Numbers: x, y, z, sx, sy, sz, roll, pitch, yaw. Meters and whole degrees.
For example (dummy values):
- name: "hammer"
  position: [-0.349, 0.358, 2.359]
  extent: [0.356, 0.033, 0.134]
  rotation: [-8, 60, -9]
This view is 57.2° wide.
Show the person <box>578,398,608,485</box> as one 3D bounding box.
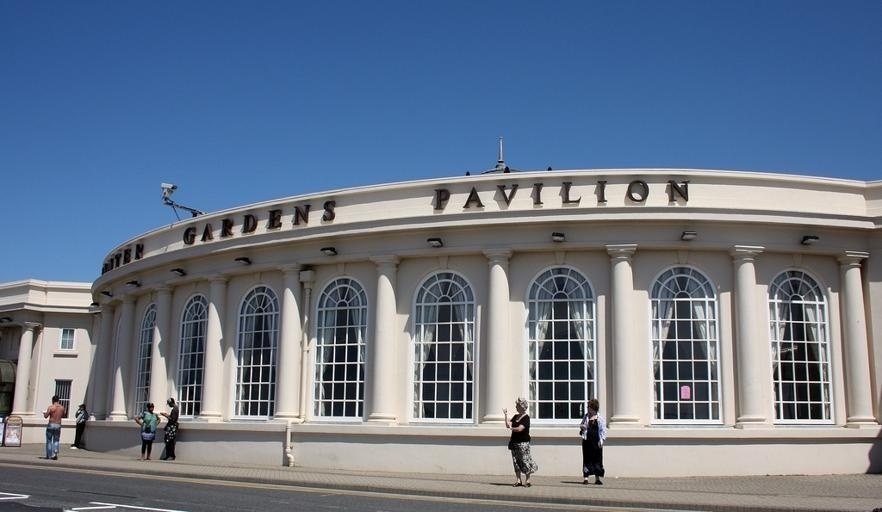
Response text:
- name: "person"
  position: [4.981, 6.161, 26.747]
  extent: [0.726, 2.787, 0.474]
  rotation: [0, -3, 9]

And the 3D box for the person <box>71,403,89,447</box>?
- name: "person"
  position: [-17.096, 8.094, 38.590]
  extent: [0.679, 2.163, 1.564]
  rotation: [1, -3, -24]

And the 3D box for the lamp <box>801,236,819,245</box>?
- name: "lamp"
  position: [13.439, -0.577, 29.692]
  extent: [0.415, 0.262, 0.452]
  rotation: [4, -4, -1]

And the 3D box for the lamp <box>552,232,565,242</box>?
- name: "lamp"
  position: [4.278, -0.671, 29.613]
  extent: [0.544, 0.301, 0.357]
  rotation: [0, 32, 5]

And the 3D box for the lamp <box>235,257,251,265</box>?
- name: "lamp"
  position: [-8.097, 0.218, 33.211]
  extent: [0.745, 0.318, 0.235]
  rotation: [-1, -3, 25]

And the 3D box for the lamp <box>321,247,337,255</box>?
- name: "lamp"
  position: [-4.381, -0.198, 31.800]
  extent: [0.674, 0.305, 0.277]
  rotation: [0, -2, 6]

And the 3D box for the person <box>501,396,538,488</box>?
- name: "person"
  position: [2.618, 6.166, 26.767]
  extent: [0.889, 2.866, 1.275]
  rotation: [0, -2, 4]

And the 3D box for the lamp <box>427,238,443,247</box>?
- name: "lamp"
  position: [-0.217, -0.536, 30.480]
  extent: [0.555, 0.400, 0.361]
  rotation: [0, -2, 1]

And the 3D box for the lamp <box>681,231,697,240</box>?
- name: "lamp"
  position: [8.909, -0.722, 29.246]
  extent: [0.397, 0.239, 0.347]
  rotation: [-1, -9, 1]
